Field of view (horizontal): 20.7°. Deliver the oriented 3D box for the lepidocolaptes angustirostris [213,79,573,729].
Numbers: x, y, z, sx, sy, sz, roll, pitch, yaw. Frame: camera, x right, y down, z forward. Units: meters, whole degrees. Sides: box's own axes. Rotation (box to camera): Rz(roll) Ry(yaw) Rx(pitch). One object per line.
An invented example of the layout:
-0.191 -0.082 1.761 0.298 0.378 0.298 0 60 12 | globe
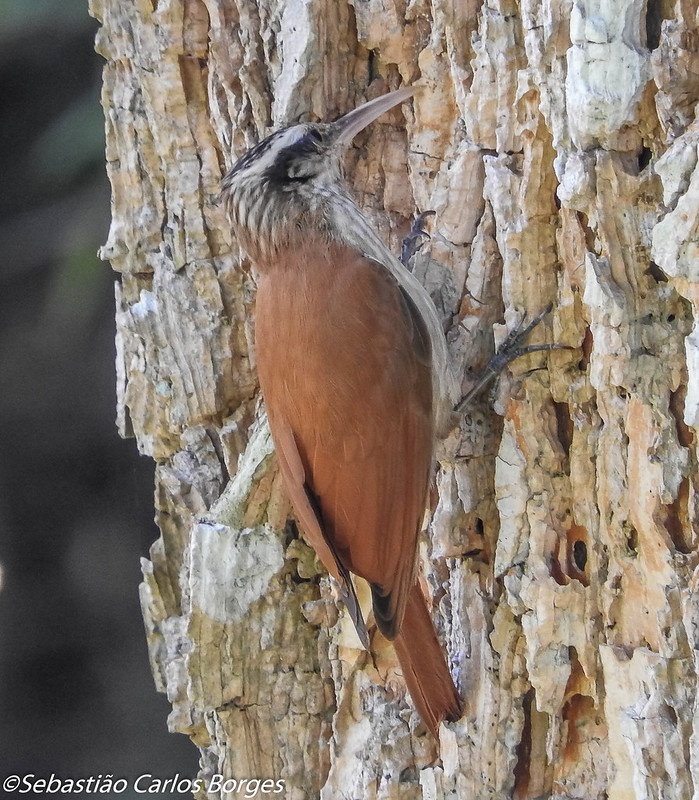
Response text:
0.047 0.015 4.629 0.485 1.350 0.740 -21 22 -33 | lepidocolaptes angustirostris
